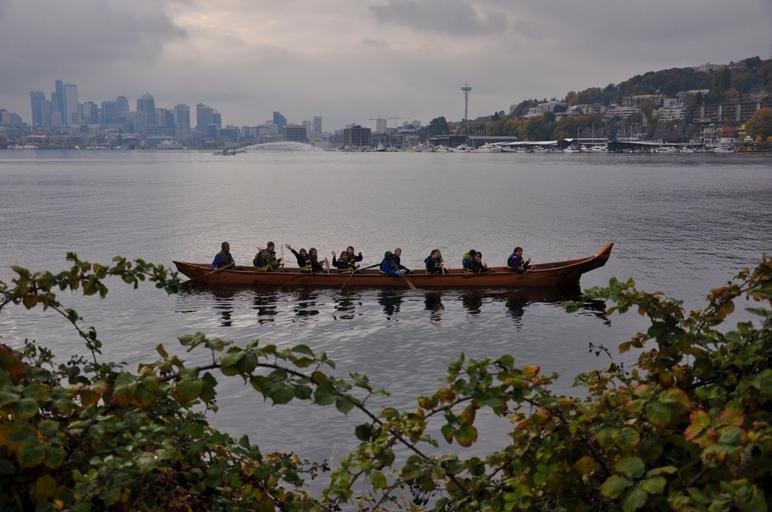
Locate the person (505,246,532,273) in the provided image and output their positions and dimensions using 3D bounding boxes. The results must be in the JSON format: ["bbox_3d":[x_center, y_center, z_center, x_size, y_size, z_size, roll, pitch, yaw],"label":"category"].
[{"bbox_3d":[4.463,0.097,29.107,0.544,0.900,0.550,-16,31,-9],"label":"person"}]

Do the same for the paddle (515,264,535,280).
[{"bbox_3d":[4.155,0.451,25.630,0.532,0.163,0.366,-19,14,-36],"label":"paddle"}]

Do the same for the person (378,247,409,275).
[{"bbox_3d":[0.231,0.167,26.447,0.877,1.117,0.749,-1,12,2],"label":"person"}]

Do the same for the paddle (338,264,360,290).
[{"bbox_3d":[-1.100,0.596,26.189,0.272,0.165,1.005,33,50,4],"label":"paddle"}]

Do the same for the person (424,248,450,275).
[{"bbox_3d":[1.505,0.082,26.539,0.779,1.047,0.710,-6,20,4],"label":"person"}]

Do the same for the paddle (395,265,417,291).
[{"bbox_3d":[0.649,0.667,25.894,0.226,0.158,1.509,-28,39,-15],"label":"paddle"}]

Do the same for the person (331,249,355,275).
[{"bbox_3d":[-1.433,0.145,26.839,0.848,0.798,0.587,2,11,6],"label":"person"}]

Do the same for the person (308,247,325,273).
[{"bbox_3d":[-2.318,0.124,28.702,0.415,0.958,0.413,-20,34,-3],"label":"person"}]

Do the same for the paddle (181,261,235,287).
[{"bbox_3d":[-5.392,0.525,26.371,1.200,0.195,0.281,-27,13,-19],"label":"paddle"}]

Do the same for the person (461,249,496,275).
[{"bbox_3d":[2.798,0.086,26.332,0.905,1.181,0.531,-6,21,4],"label":"person"}]
